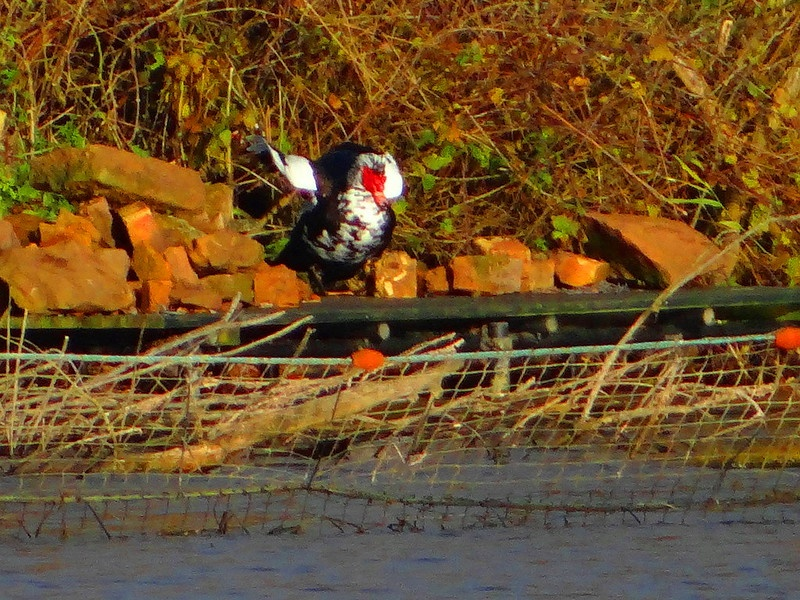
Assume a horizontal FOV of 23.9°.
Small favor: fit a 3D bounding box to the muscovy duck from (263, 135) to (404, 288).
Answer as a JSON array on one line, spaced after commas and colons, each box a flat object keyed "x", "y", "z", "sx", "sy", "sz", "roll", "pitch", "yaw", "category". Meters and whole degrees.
[{"x": -0.429, "y": -0.471, "z": 11.763, "sx": 0.797, "sy": 0.851, "sz": 0.440, "roll": 7, "pitch": 22, "yaw": -2, "category": "muscovy duck"}]
